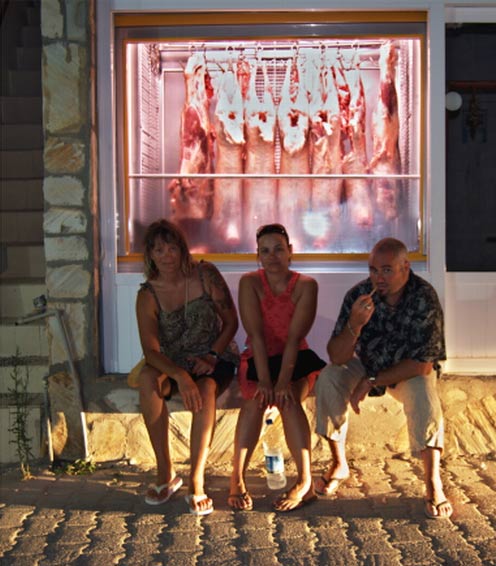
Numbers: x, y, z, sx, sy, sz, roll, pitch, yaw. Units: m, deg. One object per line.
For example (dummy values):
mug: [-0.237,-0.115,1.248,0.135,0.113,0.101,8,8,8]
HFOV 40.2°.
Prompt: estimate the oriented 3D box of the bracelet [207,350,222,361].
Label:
bracelet: [-0.184,0.401,3.730,0.062,0.039,0.057,25,-12,21]

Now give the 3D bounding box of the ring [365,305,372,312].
ring: [0.603,0.127,3.407,0.030,0.027,0.008,0,-10,-4]

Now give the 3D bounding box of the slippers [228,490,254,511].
slippers: [-0.038,1.072,3.356,0.123,0.085,0.141,-2,6,-3]

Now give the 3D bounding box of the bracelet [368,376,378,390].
bracelet: [0.653,0.520,3.501,0.035,0.070,0.054,-3,1,-14]

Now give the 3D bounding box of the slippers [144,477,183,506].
slippers: [-0.419,1.073,3.534,0.100,0.097,0.309,1,6,26]

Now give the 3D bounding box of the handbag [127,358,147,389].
handbag: [-0.612,0.535,3.824,0.062,0.178,0.141,21,-1,-13]

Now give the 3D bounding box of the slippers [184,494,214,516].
slippers: [-0.235,1.075,3.303,0.133,0.095,0.111,-2,6,-4]

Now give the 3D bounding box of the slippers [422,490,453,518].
slippers: [0.889,1.053,3.193,0.134,0.074,0.284,-3,0,8]

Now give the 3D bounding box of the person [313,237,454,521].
person: [0.723,0.432,3.492,0.692,1.317,0.672,0,6,23]

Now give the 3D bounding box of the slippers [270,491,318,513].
slippers: [0.220,1.086,3.338,0.225,0.091,0.073,13,-1,-33]

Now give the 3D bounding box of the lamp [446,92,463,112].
lamp: [1.439,-1.287,4.790,0.129,0.122,0.029,-4,0,2]
